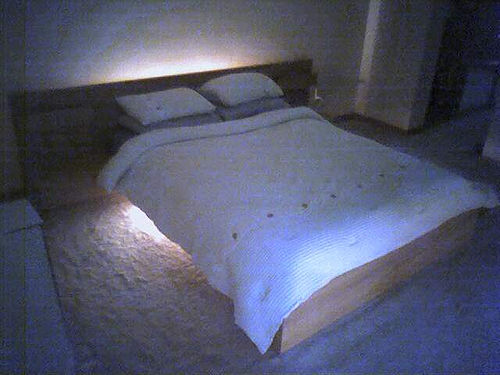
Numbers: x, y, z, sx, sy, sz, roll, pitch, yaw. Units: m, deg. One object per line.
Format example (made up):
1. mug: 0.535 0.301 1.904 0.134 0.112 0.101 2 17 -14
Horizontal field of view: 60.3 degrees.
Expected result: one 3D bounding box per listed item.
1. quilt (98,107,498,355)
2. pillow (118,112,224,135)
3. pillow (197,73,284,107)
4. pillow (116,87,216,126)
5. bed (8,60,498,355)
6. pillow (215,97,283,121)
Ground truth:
1. quilt: 0.265 0.070 3.069 1.828 0.805 1.953 -17 27 -35
2. pillow: -0.608 -0.591 3.678 0.694 0.117 0.480 -1 -3 -2
3. pillow: -0.109 -0.928 4.000 0.646 0.172 0.401 -11 46 -29
4. pillow: -0.712 -0.682 3.557 0.585 0.149 0.400 -14 41 -32
5. bed: -0.083 -0.041 3.053 2.449 1.295 2.575 -18 27 -36
6. pillow: 0.016 -0.715 3.915 0.602 0.077 0.232 -12 60 -24
